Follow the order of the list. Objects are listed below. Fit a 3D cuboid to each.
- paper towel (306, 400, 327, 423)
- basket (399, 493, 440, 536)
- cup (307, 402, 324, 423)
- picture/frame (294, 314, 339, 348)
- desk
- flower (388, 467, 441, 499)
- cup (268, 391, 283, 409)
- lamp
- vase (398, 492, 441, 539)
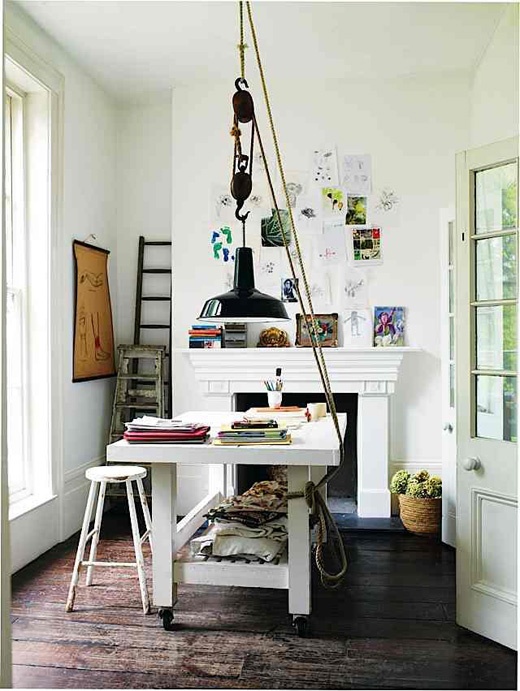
[{"bbox_3d":[0.298,0.357,3.326,0.111,0.079,0.063,0,-1,-3],"label":"paper towel"},{"bbox_3d":[1.039,1.102,4.124,0.221,0.174,0.238,1,-8,-5],"label":"basket"},{"bbox_3d":[0.281,0.354,3.343,0.057,0.074,0.107,-2,-2,40],"label":"cup"},{"bbox_3d":[0.382,-0.099,4.169,0.233,0.213,0.040,1,1,5],"label":"picture/frame"},{"bbox_3d":[-0.059,0.747,3.272,0.981,0.836,1.407,-2,5,4],"label":"desk"},{"bbox_3d":[1.039,0.918,4.180,0.189,0.130,0.240,-1,-2,-20],"label":"flower"},{"bbox_3d":[0.093,0.303,3.586,0.067,0.092,0.092,-3,-7,26],"label":"cup"},{"bbox_3d":[-0.073,-0.327,2.858,0.411,0.447,0.428,1,-2,-17],"label":"lamp"},{"bbox_3d":[1.037,1.088,4.056,0.222,0.175,0.240,1,-8,-4],"label":"vase"}]
